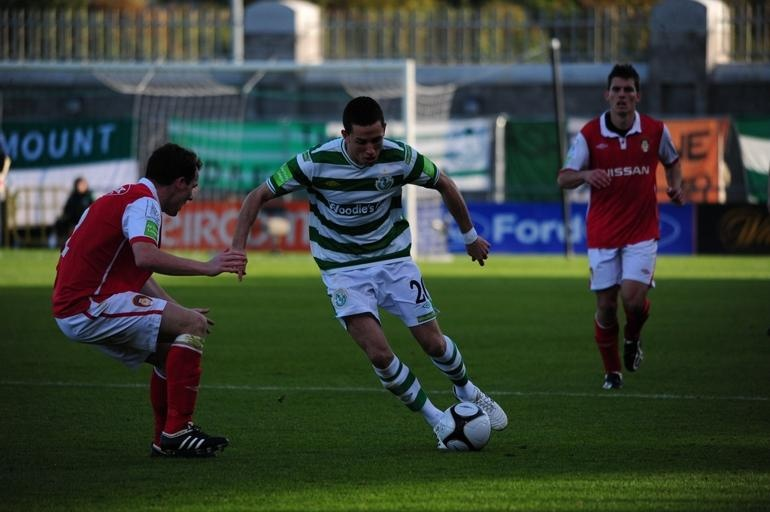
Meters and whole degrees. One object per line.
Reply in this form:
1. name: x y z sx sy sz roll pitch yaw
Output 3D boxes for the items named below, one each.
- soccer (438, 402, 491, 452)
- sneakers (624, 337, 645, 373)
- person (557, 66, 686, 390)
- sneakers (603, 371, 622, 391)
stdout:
1. soccer: 0.771 1.623 12.031 0.412 0.409 0.425 -17 22 13
2. sneakers: 2.705 1.090 13.846 0.149 0.441 0.183 -1 2 20
3. person: 2.520 -0.373 13.655 1.221 3.348 0.759 0 9 6
4. sneakers: 2.428 1.331 13.572 0.214 0.152 0.453 1 10 10
